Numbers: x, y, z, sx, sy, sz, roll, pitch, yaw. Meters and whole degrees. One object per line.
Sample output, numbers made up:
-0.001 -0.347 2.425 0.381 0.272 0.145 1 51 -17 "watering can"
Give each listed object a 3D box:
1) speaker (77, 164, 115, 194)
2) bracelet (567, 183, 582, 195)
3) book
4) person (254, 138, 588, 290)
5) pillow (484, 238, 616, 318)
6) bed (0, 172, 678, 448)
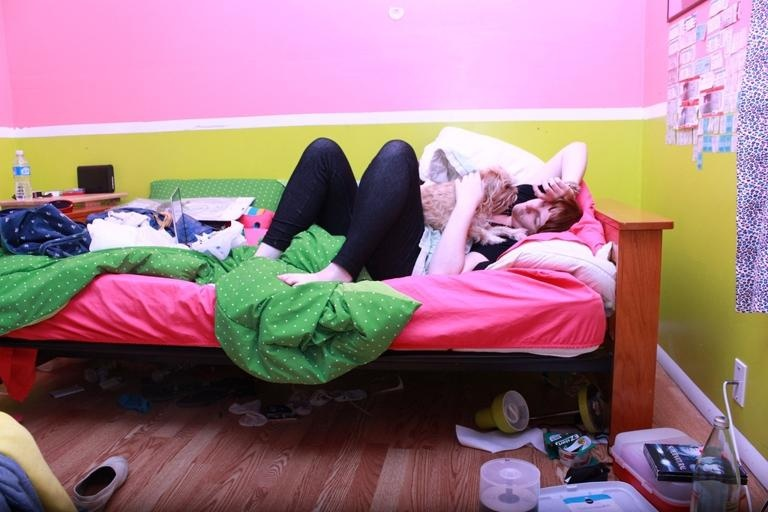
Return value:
-1.801 -0.472 3.265 0.188 0.149 0.061 3 7 8 "speaker"
0.807 -0.280 2.231 0.044 0.022 0.061 25 10 1 "bracelet"
0.975 0.692 1.759 0.170 0.041 0.183 1 9 19 "book"
0.134 -0.157 2.271 1.559 0.595 0.576 -4 39 -9 "person"
0.690 0.087 2.065 0.338 0.120 0.308 3 49 12 "pillow"
0.026 0.073 2.222 1.843 0.639 1.109 3 7 7 "bed"
